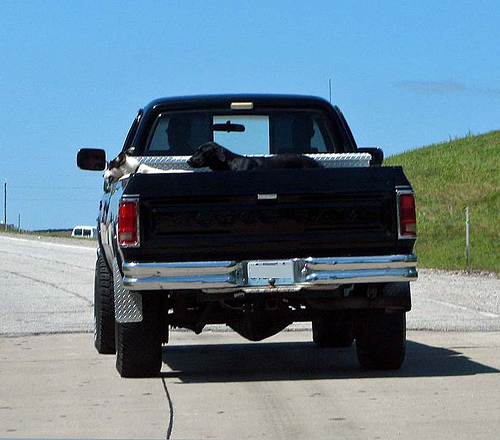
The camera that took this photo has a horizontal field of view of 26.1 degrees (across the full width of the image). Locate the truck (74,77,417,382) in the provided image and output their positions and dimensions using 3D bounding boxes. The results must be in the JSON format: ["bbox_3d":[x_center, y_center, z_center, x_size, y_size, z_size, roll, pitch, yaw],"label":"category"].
[{"bbox_3d":[-0.096,0.076,9.872,2.124,1.809,3.735,1,-2,-9],"label":"truck"}]

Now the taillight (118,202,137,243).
[{"bbox_3d":[-1.033,0.045,9.211,0.177,0.365,0.178,1,-9,-15],"label":"taillight"}]

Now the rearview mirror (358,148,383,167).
[{"bbox_3d":[1.212,-0.635,10.796,0.314,0.265,0.268,0,-9,6],"label":"rearview mirror"}]

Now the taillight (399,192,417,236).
[{"bbox_3d":[1.374,-0.053,9.319,0.133,0.372,0.220,0,-2,18],"label":"taillight"}]

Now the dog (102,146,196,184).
[{"bbox_3d":[-0.903,-0.492,9.862,0.539,0.597,0.963,1,5,-15],"label":"dog"}]
